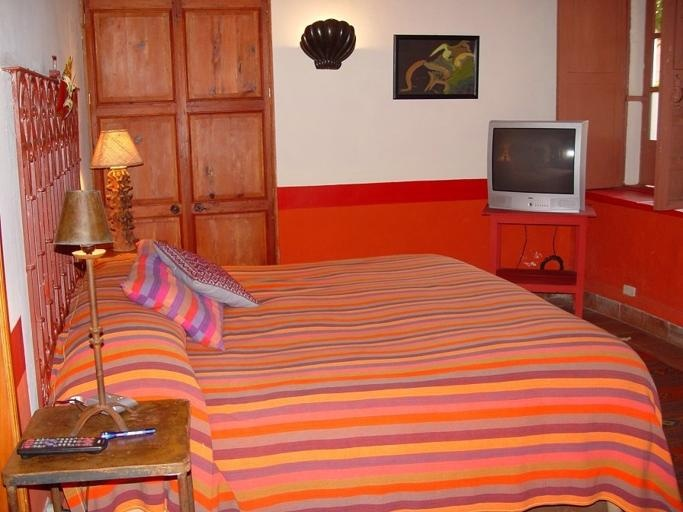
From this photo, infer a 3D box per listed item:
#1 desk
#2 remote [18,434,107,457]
[{"bbox_3d":[1.730,0.027,5.063,0.887,0.920,0.527,3,10,20],"label":"desk"},{"bbox_3d":[-0.874,0.590,1.778,0.186,0.036,0.095,1,10,-10],"label":"remote"}]
